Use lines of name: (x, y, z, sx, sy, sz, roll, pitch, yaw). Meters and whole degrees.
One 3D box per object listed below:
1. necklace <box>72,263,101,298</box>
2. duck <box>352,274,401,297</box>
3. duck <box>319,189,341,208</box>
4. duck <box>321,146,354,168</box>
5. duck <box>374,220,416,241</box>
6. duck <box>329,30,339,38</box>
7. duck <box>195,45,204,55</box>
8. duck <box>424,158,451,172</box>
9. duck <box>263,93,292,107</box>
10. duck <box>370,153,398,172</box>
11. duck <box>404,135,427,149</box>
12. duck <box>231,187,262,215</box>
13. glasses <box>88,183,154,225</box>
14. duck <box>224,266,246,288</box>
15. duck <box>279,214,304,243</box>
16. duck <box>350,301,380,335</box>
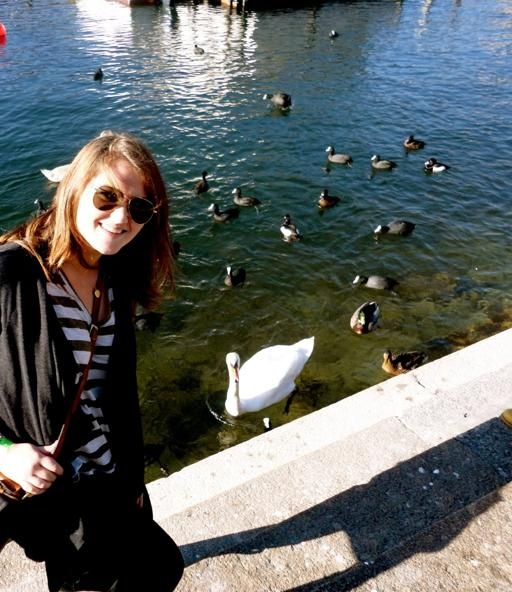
necklace: (-0.953, -0.083, 2.880, 0.053, 0.157, 0.170, 1, 26, 34)
duck: (2.645, -0.254, 11.346, 0.903, 0.321, 0.405, 13, 17, 31)
duck: (2.043, -2.729, 14.652, 0.609, 0.325, 0.681, 8, 34, 6)
duck: (2.775, -4.639, 17.306, 1.139, 0.677, 0.613, 11, 34, 4)
duck: (3.575, -1.746, 13.305, 0.940, 0.338, 0.450, -11, 67, 0)
duck: (4.897, -16.599, 32.746, 0.463, 0.591, 0.878, 20, 36, 31)
duck: (-3.131, -13.676, 28.720, 0.542, 0.416, 0.836, 1, 34, -5)
duck: (5.956, -4.329, 17.170, 0.907, 0.563, 0.407, 3, 76, 4)
duck: (0.865, -8.321, 21.714, 0.548, 0.520, 1.690, -13, 37, -22)
duck: (4.163, -4.421, 17.120, 1.015, 0.592, 0.522, 1, 42, 2)
duck: (5.753, -5.609, 18.928, 0.914, 0.511, 0.469, -3, 25, -26)
duck: (-0.314, -2.760, 14.600, 1.011, 0.629, 0.525, 15, 47, 13)
glasses: (-0.693, -0.482, 2.764, 0.340, 0.217, 0.151, -7, 38, -15)
duck: (-0.451, -0.458, 11.330, 0.359, 0.397, 0.535, 2, 45, 2)
duck: (0.869, -1.661, 13.231, 0.484, 0.622, 0.761, -16, 60, 6)
duck: (2.093, 0.412, 10.095, 0.552, 0.637, 0.220, 32, 6, -9)
